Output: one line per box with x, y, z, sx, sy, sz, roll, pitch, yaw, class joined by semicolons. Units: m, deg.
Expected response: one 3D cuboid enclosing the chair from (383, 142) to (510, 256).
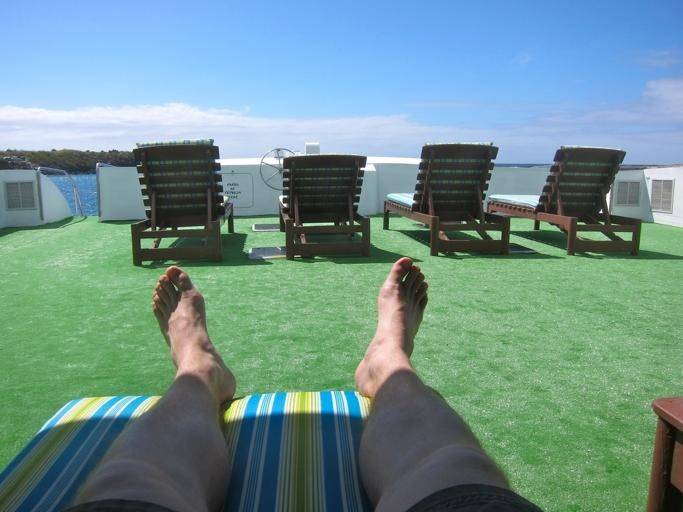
1.492;-0.784;6.595;0.939;1.279;2.257;-5;17;-10;chair

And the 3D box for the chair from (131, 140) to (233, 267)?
-2.002;-0.698;5.560;1.053;1.385;1.379;-5;13;-15;chair

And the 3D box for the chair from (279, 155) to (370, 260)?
-0.244;-0.685;5.931;1.085;1.269;1.506;-3;13;-4;chair
